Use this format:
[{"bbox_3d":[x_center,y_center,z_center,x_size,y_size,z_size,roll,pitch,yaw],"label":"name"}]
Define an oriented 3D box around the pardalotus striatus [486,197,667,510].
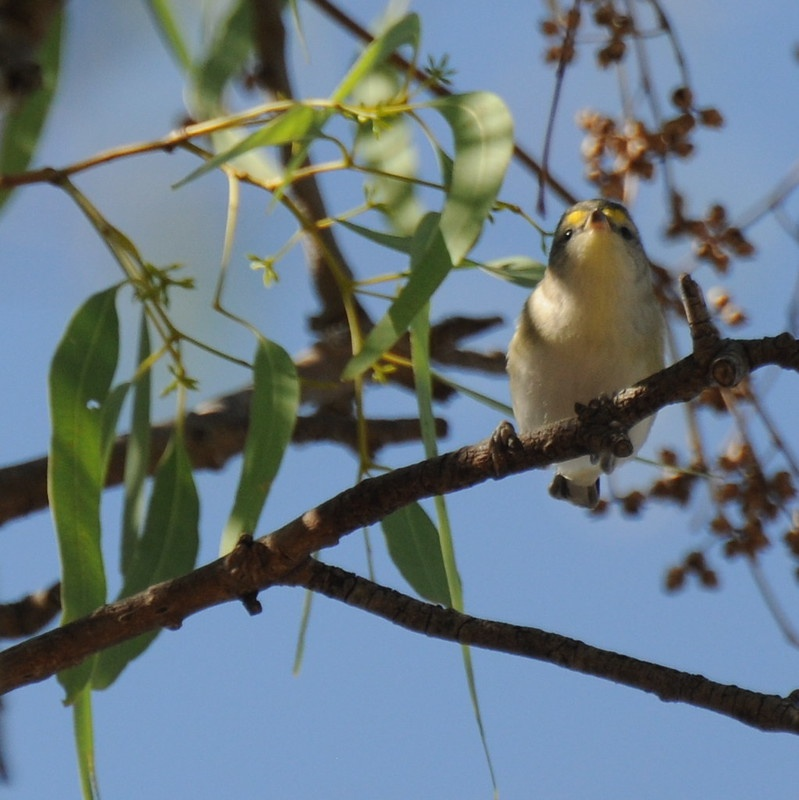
[{"bbox_3d":[0.259,-0.115,2.679,0.231,0.525,0.350,5,16,3],"label":"pardalotus striatus"}]
